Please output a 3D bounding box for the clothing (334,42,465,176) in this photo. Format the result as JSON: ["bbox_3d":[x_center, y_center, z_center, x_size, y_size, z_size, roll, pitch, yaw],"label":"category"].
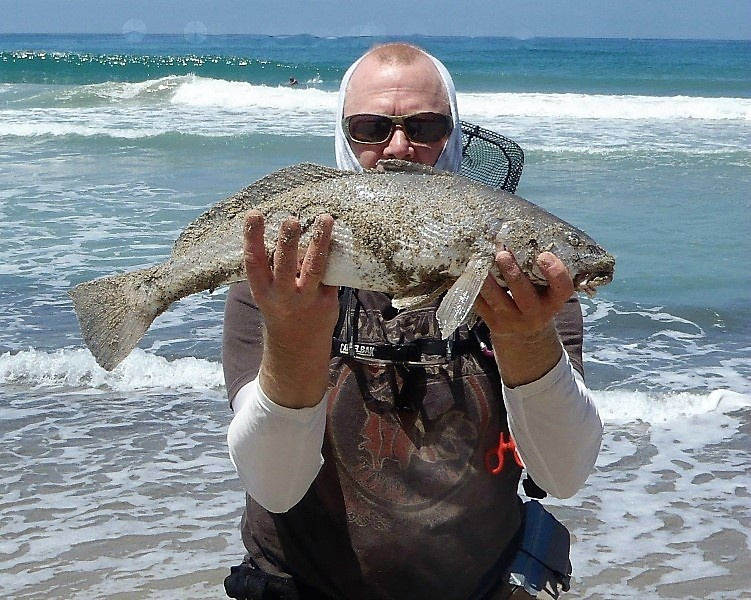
[{"bbox_3d":[0.138,-1.331,6.826,1.058,0.881,0.306,1,13,1],"label":"clothing"}]
